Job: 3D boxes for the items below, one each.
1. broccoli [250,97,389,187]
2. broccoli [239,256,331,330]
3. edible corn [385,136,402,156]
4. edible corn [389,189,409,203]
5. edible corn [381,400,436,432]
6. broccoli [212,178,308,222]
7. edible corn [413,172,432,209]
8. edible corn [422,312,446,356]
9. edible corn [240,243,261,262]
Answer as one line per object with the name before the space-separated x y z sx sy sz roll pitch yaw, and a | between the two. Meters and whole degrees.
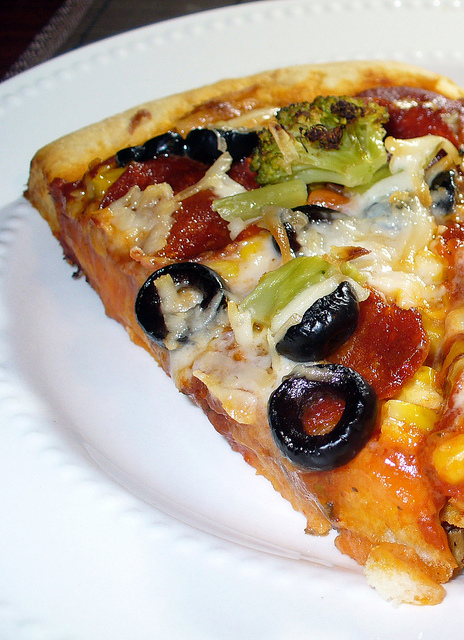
broccoli | 0.279 -0.518 2.141 0.334 0.302 0.100 32 -1 7
broccoli | 0.173 -0.057 1.781 0.243 0.062 0.151 -36 45 -6
edible corn | 0.467 -0.508 2.038 0.045 0.052 0.011 -35 -6 -11
edible corn | 0.463 -0.352 1.969 0.041 0.023 0.043 17 47 26
edible corn | 0.393 0.216 1.562 0.083 0.037 0.111 4 18 -38
broccoli | 0.076 -0.345 2.004 0.351 0.093 0.086 -13 27 0
edible corn | 0.541 -0.373 1.992 0.074 0.096 0.026 -6 -14 -3
edible corn | 0.492 0.034 1.749 0.084 0.034 0.085 7 65 -13
edible corn | 0.057 -0.187 1.928 0.038 0.014 0.060 33 75 32
